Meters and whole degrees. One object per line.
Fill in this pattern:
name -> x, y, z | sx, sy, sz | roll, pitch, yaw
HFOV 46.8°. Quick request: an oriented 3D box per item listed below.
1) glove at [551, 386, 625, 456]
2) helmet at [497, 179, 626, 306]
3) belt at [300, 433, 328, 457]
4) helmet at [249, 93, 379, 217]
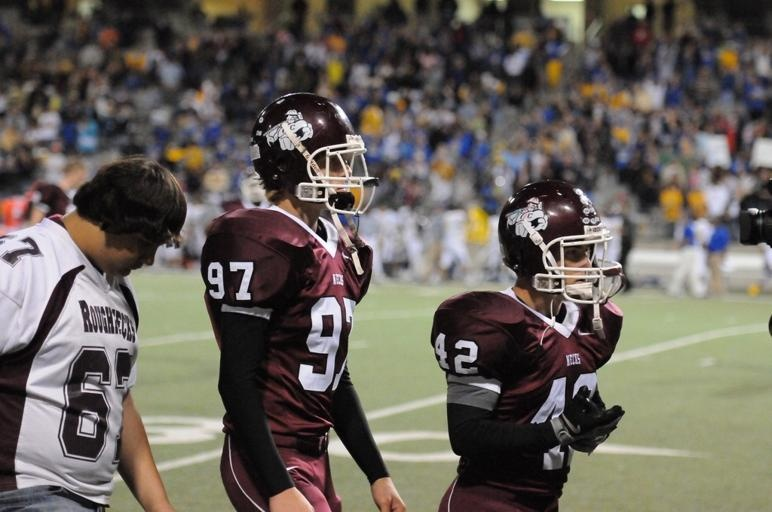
glove -> 0.800, 0.631, 3.457 | 0.143, 0.204, 0.420 | 2, 6, 29
helmet -> 0.724, -0.058, 3.651 | 0.526, 0.472, 0.399 | 4, 7, 24
belt -> -0.285, 0.743, 3.505 | 0.100, 0.052, 0.074 | 3, 7, 14
helmet -> -0.262, -0.427, 3.777 | 0.537, 0.462, 0.422 | 7, 1, 11
